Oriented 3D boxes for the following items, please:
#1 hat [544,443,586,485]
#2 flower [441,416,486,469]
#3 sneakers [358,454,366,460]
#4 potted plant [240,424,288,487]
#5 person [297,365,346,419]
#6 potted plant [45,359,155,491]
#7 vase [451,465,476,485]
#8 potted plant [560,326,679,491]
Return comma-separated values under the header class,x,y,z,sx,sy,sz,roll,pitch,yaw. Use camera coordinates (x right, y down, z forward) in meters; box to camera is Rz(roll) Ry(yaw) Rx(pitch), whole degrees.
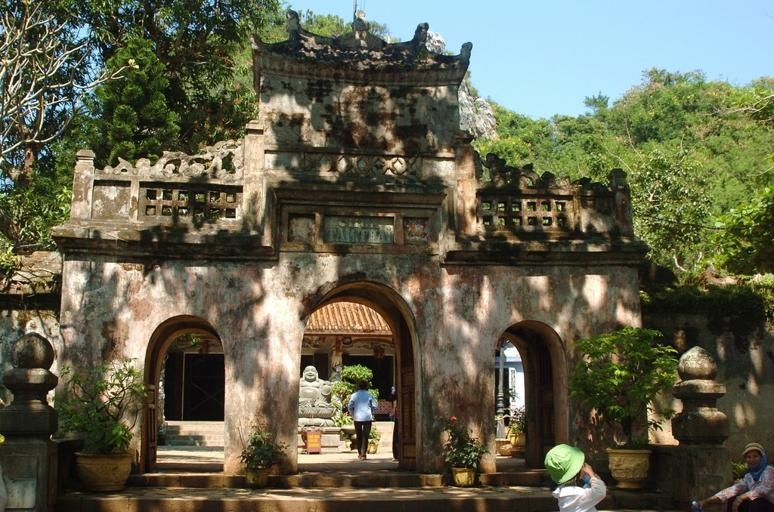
class,x,y,z,sx,sy,sz,roll,pitch,yaw
hat,2.442,2.956,13.491,0.293,0.527,0.556,21,-38,-24
flower,1.412,3.476,17.975,1.005,1.020,0.851,1,-2,4
sneakers,-0.548,4.432,21.070,0.120,0.125,0.169,-1,-5,0
potted plant,-2.305,3.698,17.699,0.976,1.122,0.892,-1,-3,24
person,-2.020,3.585,25.165,1.370,1.343,0.812,2,3,0
potted plant,-5.240,3.159,17.711,2.194,2.994,2.046,1,-15,-9
vase,1.433,4.063,17.573,0.358,0.230,0.360,3,-20,-11
potted plant,4.440,2.932,18.148,2.368,3.066,2.081,4,-9,-23
